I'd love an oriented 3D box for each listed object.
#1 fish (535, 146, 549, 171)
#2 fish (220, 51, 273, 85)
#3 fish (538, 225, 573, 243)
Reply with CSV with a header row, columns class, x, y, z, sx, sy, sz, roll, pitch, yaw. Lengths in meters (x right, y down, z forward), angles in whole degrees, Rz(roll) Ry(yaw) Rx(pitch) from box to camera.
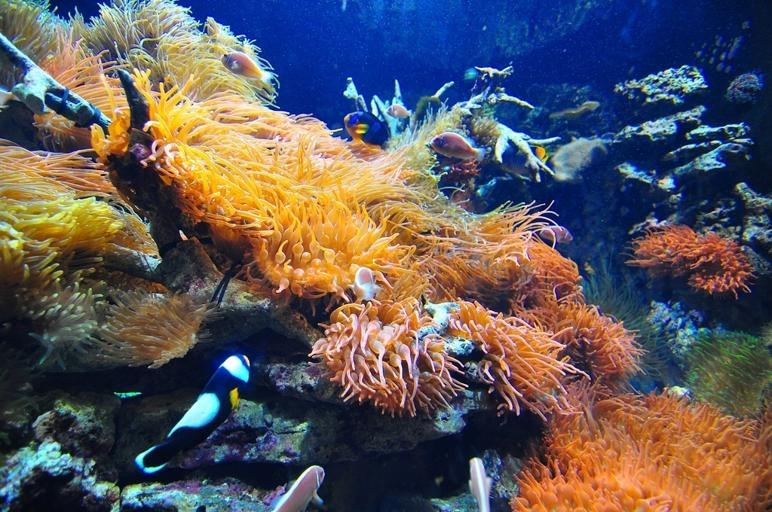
class,x,y,z,sx,sy,sz,roll,pitch,yaw
fish,2.327,-1.467,9.766,0.176,0.103,0.415,-7,43,-2
fish,-1.749,-2.382,8.392,0.571,0.277,0.292,20,56,-10
fish,2.250,-0.280,8.816,0.425,0.332,0.161,-1,16,-10
